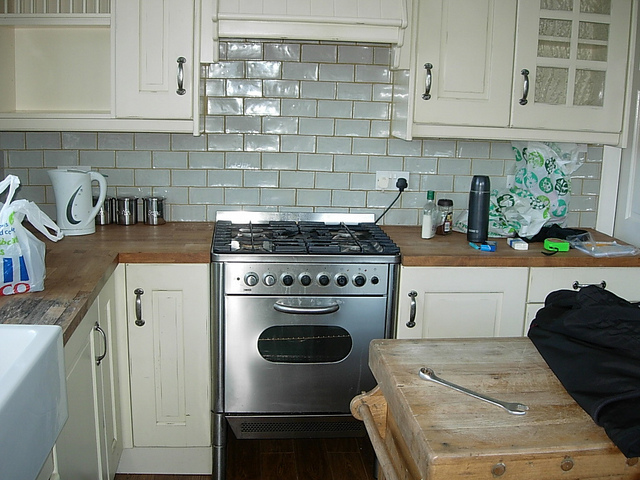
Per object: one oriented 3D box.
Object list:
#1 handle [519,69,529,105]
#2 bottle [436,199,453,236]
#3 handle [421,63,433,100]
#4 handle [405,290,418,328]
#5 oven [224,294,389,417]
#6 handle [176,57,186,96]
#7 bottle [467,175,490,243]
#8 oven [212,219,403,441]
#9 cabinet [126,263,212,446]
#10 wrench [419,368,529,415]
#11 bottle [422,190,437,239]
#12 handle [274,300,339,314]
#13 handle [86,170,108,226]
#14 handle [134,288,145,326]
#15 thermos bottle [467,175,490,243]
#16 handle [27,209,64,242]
[{"bbox_3d":[1.045,-0.785,2.650,0.045,0.173,0.041,0,13,4],"label":"handle"},{"bbox_3d":[0.708,-0.134,2.957,0.088,0.205,0.117,2,13,11],"label":"bottle"},{"bbox_3d":[0.538,-0.801,2.605,0.052,0.176,0.059,1,13,6],"label":"handle"},{"bbox_3d":[0.454,0.343,2.557,0.051,0.199,0.037,0,13,2],"label":"handle"},{"bbox_3d":[-0.076,0.429,2.801,0.910,0.754,0.599,0,5,-4],"label":"oven"},{"bbox_3d":[-0.678,-0.806,2.548,0.056,0.181,0.045,-4,14,-14],"label":"handle"},{"bbox_3d":[0.857,-0.176,2.812,0.156,0.342,0.152,1,9,0],"label":"bottle"},{"bbox_3d":[-0.110,0.520,2.779,0.920,1.054,0.631,2,2,-15],"label":"oven"},{"bbox_3d":[-0.683,0.602,2.725,0.467,0.974,0.475,-2,-3,8],"label":"cabinet"},{"bbox_3d":[0.391,0.400,1.368,0.059,0.037,0.318,-5,9,-41],"label":"wrench"},{"bbox_3d":[0.628,-0.157,2.958,0.078,0.251,0.304,2,13,11],"label":"bottle"},{"bbox_3d":[-0.060,0.319,2.465,0.307,0.069,0.044,-1,13,-4],"label":"handle"},{"bbox_3d":[-1.176,-0.232,2.764,0.107,0.270,0.221,-4,13,-15],"label":"handle"},{"bbox_3d":[-0.855,0.317,2.457,0.040,0.186,0.039,4,14,19],"label":"handle"},{"bbox_3d":[0.838,-0.164,2.763,0.094,0.348,0.111,6,17,-22],"label":"thermos bottle"},{"bbox_3d":[-1.076,-0.070,2.086,0.026,0.105,0.068,1,-31,23],"label":"handle"}]
